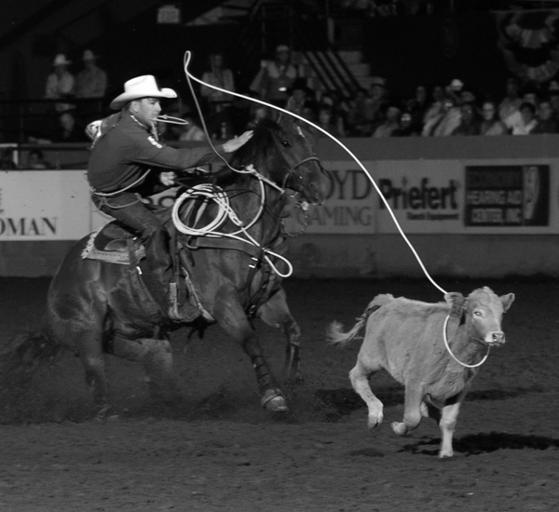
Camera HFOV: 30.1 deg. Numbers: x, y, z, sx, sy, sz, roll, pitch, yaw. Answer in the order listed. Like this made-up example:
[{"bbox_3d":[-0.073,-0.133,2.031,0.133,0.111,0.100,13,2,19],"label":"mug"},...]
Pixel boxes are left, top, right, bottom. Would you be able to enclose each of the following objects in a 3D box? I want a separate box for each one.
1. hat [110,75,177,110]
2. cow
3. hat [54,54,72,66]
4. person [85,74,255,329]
[{"bbox_3d":[-0.995,-1.160,7.325,0.432,0.123,0.310,-11,-2,14],"label":"hat"},{"bbox_3d":[0.882,0.694,6.465,0.564,1.104,1.275,-6,11,-24],"label":"cow"},{"bbox_3d":[-3.204,-2.916,15.419,0.337,0.140,0.267,-5,34,-13],"label":"hat"},{"bbox_3d":[-0.877,-0.417,7.358,1.125,1.731,0.475,1,12,10],"label":"person"}]
